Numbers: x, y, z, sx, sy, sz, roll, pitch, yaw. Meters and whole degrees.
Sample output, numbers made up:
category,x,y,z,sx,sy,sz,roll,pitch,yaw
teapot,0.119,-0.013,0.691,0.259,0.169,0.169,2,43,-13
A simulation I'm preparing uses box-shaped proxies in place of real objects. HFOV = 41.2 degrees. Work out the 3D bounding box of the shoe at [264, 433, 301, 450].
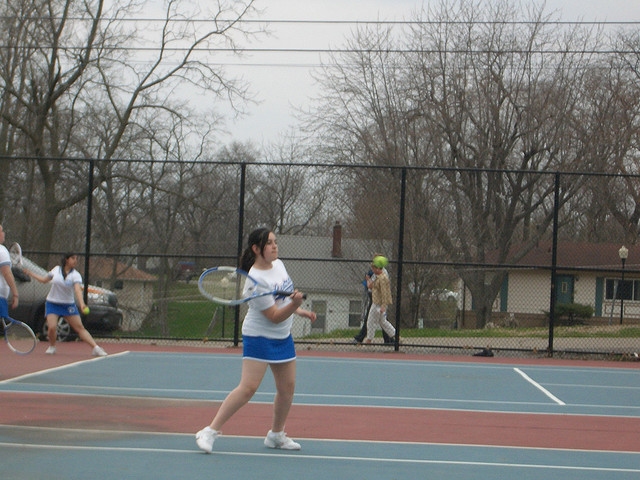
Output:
category,x,y,z,sx,sy,sz,roll,pitch,yaw
shoe,-0.601,3.137,13.326,0.546,0.284,0.218,2,-3,3

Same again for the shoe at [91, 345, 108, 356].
category,x,y,z,sx,sy,sz,roll,pitch,yaw
shoe,-4.906,2.434,18.884,0.294,0.243,0.330,-1,7,-20

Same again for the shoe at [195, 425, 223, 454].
category,x,y,z,sx,sy,sz,roll,pitch,yaw
shoe,-1.743,3.051,12.991,0.318,0.453,0.276,0,7,-13

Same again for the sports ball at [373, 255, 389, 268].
category,x,y,z,sx,sy,sz,roll,pitch,yaw
sports ball,1.035,0.363,14.645,0.207,0.245,0.284,0,1,2

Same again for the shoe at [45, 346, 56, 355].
category,x,y,z,sx,sy,sz,roll,pitch,yaw
shoe,-6.022,2.442,18.931,0.197,0.230,0.466,0,7,-15

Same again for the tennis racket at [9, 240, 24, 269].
category,x,y,z,sx,sy,sz,roll,pitch,yaw
tennis racket,-7.167,0.361,20.011,0.132,0.644,0.468,-5,31,-11

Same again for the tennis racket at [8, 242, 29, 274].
category,x,y,z,sx,sy,sz,roll,pitch,yaw
tennis racket,-7.116,0.428,19.991,0.129,0.664,0.403,-19,-24,-9

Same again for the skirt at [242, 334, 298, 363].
category,x,y,z,sx,sy,sz,roll,pitch,yaw
skirt,-0.818,1.534,13.138,0.878,0.701,0.541,1,-10,-24
